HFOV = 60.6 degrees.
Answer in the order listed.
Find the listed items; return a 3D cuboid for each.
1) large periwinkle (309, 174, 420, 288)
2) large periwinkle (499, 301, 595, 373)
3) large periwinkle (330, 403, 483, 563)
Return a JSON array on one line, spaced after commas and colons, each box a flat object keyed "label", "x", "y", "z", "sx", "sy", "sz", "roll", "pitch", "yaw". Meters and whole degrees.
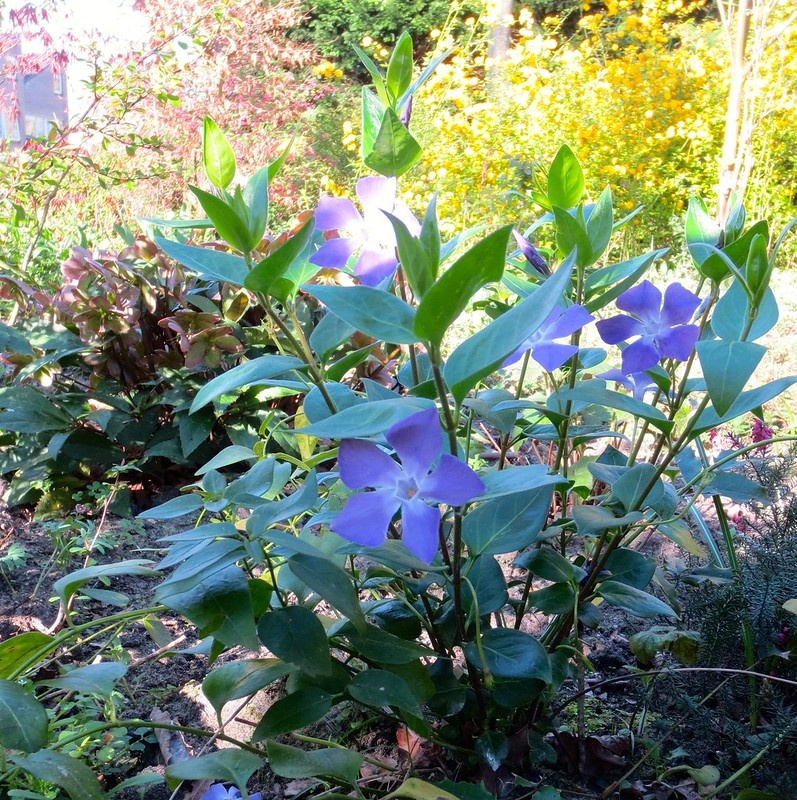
[{"label": "large periwinkle", "x": -0.056, "y": -0.248, "z": 1.022, "sx": 0.167, "sy": 0.165, "sz": 0.277, "roll": -3, "pitch": 15, "yaw": 9}, {"label": "large periwinkle", "x": 0.246, "y": -0.113, "z": 1.061, "sx": 0.133, "sy": 0.047, "sz": 0.123, "roll": -29, "pitch": 24, "yaw": 44}, {"label": "large periwinkle", "x": 0.002, "y": 0.105, "z": 0.810, "sx": 0.055, "sy": 0.149, "sz": 0.198, "roll": -19, "pitch": 27, "yaw": -39}]
